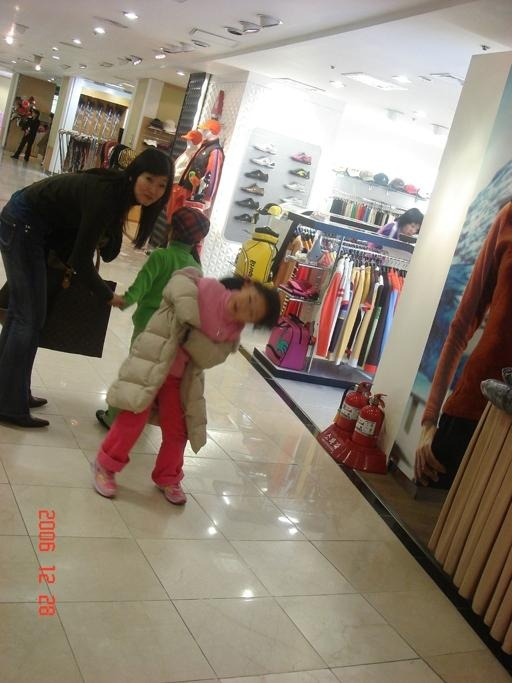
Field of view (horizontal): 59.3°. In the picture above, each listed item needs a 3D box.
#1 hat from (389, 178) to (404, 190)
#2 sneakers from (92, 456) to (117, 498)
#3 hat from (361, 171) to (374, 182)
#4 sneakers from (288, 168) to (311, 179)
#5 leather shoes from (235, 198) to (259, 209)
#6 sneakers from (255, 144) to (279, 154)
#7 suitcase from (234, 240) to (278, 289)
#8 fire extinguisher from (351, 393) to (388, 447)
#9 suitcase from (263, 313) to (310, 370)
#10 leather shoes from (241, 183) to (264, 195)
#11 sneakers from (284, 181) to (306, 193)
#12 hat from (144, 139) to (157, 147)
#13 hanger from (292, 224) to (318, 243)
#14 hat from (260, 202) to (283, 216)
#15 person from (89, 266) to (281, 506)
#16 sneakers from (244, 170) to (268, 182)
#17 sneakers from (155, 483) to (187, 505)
[{"bbox_3d":[2.048,-2.273,6.545,0.175,0.130,0.266,30,18,-13],"label":"hat"},{"bbox_3d":[-0.621,0.565,1.896,0.065,0.080,0.188,15,23,-50],"label":"sneakers"},{"bbox_3d":[1.603,-2.376,6.455,0.170,0.082,0.231,0,25,-6],"label":"hat"},{"bbox_3d":[0.766,-2.799,7.611,0.390,0.148,0.127,18,7,-22],"label":"sneakers"},{"bbox_3d":[-0.144,-2.232,7.422,0.425,0.144,0.172,8,48,3],"label":"leather shoes"},{"bbox_3d":[0.176,-3.112,7.319,0.356,0.143,0.125,11,4,-17],"label":"sneakers"},{"bbox_3d":[-0.031,-1.104,5.786,0.376,0.634,0.436,8,41,-12],"label":"suitcase"},{"bbox_3d":[0.853,0.580,3.302,0.192,0.458,0.148,10,24,16],"label":"fire extinguisher"},{"bbox_3d":[0.343,-0.014,4.980,0.339,0.548,0.430,6,22,-25],"label":"suitcase"},{"bbox_3d":[-0.026,-2.455,7.345,0.417,0.169,0.135,3,49,-21],"label":"leather shoes"},{"bbox_3d":[0.650,-2.559,7.556,0.374,0.149,0.122,12,10,-11],"label":"sneakers"},{"bbox_3d":[-2.616,-4.917,11.174,0.342,0.101,0.353,3,16,2],"label":"hat"},{"bbox_3d":[0.602,-1.260,5.405,0.229,0.072,0.289,1,32,-30],"label":"hanger"},{"bbox_3d":[0.199,-1.835,6.293,0.298,0.147,0.220,23,24,35],"label":"hat"},{"bbox_3d":[-0.295,0.214,1.831,0.527,1.038,0.332,20,10,7],"label":"person"},{"bbox_3d":[0.032,-2.686,7.329,0.405,0.160,0.140,15,22,-24],"label":"sneakers"},{"bbox_3d":[-0.362,0.660,2.024,0.162,0.067,0.058,25,10,32],"label":"sneakers"}]
